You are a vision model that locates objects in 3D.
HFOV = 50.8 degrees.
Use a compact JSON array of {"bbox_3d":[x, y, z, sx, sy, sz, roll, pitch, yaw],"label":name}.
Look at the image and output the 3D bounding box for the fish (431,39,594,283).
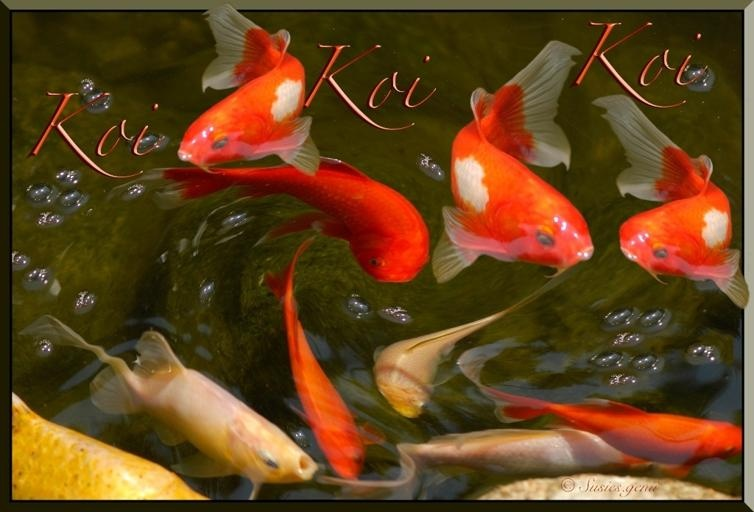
[{"bbox_3d":[0.371,-0.361,2.515,0.437,0.375,0.733,-16,54,-13],"label":"fish"}]
